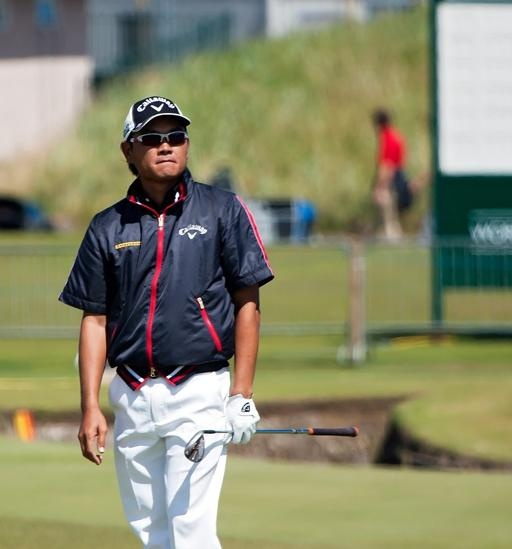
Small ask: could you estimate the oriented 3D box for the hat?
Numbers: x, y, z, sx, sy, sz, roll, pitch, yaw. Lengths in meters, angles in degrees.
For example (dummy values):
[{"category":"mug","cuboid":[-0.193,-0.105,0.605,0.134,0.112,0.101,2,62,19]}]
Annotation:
[{"category":"hat","cuboid":[-0.395,-0.601,5.934,0.208,0.168,0.290,-7,3,-21]}]
